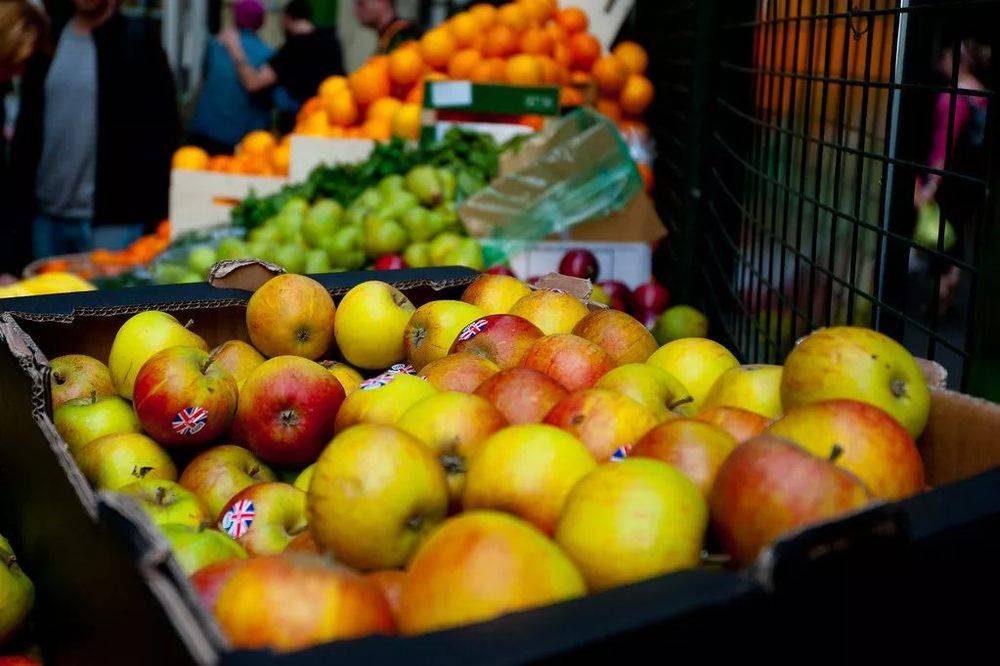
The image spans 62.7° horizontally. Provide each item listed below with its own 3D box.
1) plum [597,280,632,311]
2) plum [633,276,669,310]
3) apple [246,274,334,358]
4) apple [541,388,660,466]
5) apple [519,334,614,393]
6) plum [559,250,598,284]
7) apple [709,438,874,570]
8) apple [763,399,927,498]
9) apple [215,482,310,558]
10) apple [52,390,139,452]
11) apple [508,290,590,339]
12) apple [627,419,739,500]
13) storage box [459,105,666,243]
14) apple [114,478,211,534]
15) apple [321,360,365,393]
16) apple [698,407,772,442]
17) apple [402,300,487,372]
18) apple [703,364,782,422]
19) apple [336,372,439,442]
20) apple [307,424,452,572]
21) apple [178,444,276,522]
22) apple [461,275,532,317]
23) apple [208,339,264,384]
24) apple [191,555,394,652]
[{"bbox_3d":[0.449,-0.148,3.097,0.106,0.143,0.112,-7,10,-7],"label":"plum"},{"bbox_3d":[0.583,-0.148,3.097,0.101,0.134,0.102,4,-8,-31],"label":"plum"},{"bbox_3d":[-0.486,-0.029,2.015,0.177,0.206,0.200,-1,26,4],"label":"apple"},{"bbox_3d":[0.177,0.148,1.376,0.148,0.139,0.134,7,17,-12],"label":"apple"},{"bbox_3d":[0.140,0.051,1.673,0.125,0.137,0.132,36,20,35],"label":"apple"},{"bbox_3d":[0.308,-0.270,3.162,0.122,0.136,0.156,-6,16,-12],"label":"plum"},{"bbox_3d":[0.389,0.218,1.171,0.173,0.195,0.172,26,-12,-23],"label":"apple"},{"bbox_3d":[0.565,0.146,1.335,0.164,0.192,0.179,7,1,-35],"label":"apple"},{"bbox_3d":[-0.411,0.322,1.417,0.130,0.139,0.129,-9,-8,-26],"label":"apple"},{"bbox_3d":[-0.849,0.177,1.704,0.117,0.128,0.124,2,2,-15],"label":"apple"},{"bbox_3d":[0.125,-0.060,2.038,0.192,0.116,0.205,1,-3,2],"label":"apple"},{"bbox_3d":[0.301,0.181,1.332,0.119,0.127,0.142,15,-5,35],"label":"apple"},{"bbox_3d":[0.199,-0.566,3.140,0.552,0.606,0.154,-17,-14,-2],"label":"storage box"},{"bbox_3d":[-0.539,0.277,1.310,0.108,0.137,0.104,18,-19,-38],"label":"apple"},{"bbox_3d":[-0.360,0.093,1.875,0.082,0.052,0.072,22,14,-4],"label":"apple"},{"bbox_3d":[0.422,0.154,1.423,0.086,0.082,0.076,5,-20,-10],"label":"apple"},{"bbox_3d":[-0.114,-0.018,1.932,0.153,0.167,0.197,-4,6,20],"label":"apple"},{"bbox_3d":[0.476,0.103,1.579,0.100,0.113,0.105,-3,10,-10],"label":"apple"},{"bbox_3d":[-0.208,0.121,1.487,0.121,0.128,0.124,21,-38,-28],"label":"apple"},{"bbox_3d":[-0.175,0.234,1.278,0.184,0.214,0.198,17,-2,-4],"label":"apple"},{"bbox_3d":[-0.526,0.270,1.610,0.139,0.167,0.136,36,-7,-18],"label":"apple"},{"bbox_3d":[0.002,-0.076,2.127,0.120,0.098,0.114,6,-6,-39],"label":"apple"},{"bbox_3d":[-0.602,0.059,1.874,0.100,0.110,0.122,10,-33,-26],"label":"apple"},{"bbox_3d":[-0.236,0.317,0.966,0.141,0.083,0.146,18,-6,-13],"label":"apple"}]
